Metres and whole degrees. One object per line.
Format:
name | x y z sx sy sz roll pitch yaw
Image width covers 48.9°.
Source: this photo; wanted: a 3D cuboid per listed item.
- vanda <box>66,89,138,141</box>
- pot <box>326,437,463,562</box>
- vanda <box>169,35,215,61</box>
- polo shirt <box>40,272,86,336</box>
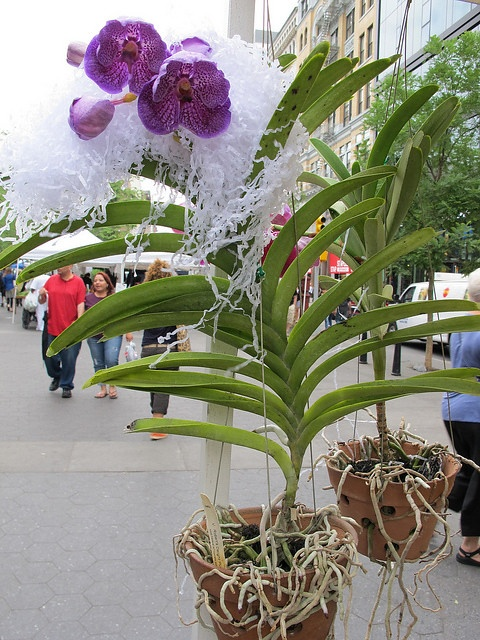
vanda | -0.237 -0.353 0.910 0.113 0.066 0.051 -30 37 -22
pot | 0.457 0.539 1.666 0.453 0.309 0.438 -1 2 0
vanda | -0.079 -0.431 0.858 0.068 0.027 0.053 6 32 13
polo shirt | -2.395 -0.185 7.303 0.462 0.876 0.557 0 5 -28
